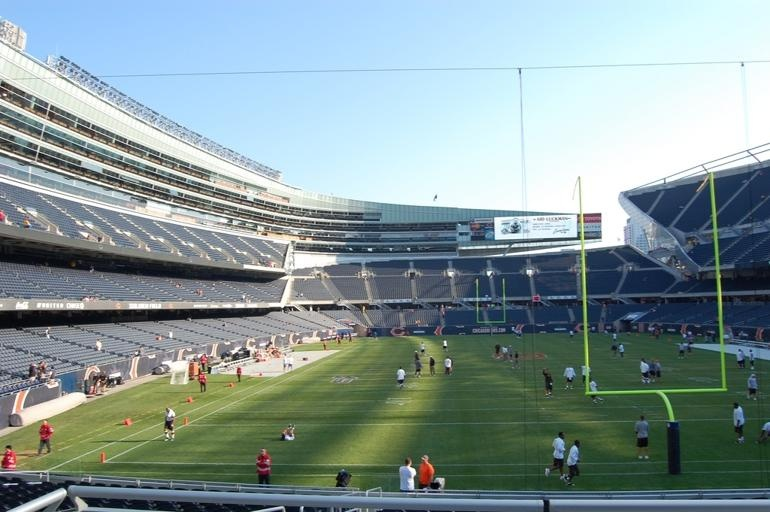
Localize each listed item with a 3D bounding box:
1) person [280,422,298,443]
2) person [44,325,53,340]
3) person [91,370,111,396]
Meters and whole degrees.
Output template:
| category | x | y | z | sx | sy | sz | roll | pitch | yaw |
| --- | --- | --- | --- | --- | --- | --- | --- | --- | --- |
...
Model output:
| category | x | y | z | sx | sy | sz | roll | pitch | yaw |
| --- | --- | --- | --- | --- | --- | --- | --- | --- | --- |
| person | -5.324 | 9.325 | 35.053 | 1.127 | 0.711 | 0.842 | 3 | 7 | 17 |
| person | -22.826 | 5.068 | 44.008 | 0.553 | 0.788 | 1.422 | 4 | -10 | -26 |
| person | -18.562 | 8.128 | 42.312 | 0.674 | 1.401 | 0.706 | -5 | -12 | 12 |
